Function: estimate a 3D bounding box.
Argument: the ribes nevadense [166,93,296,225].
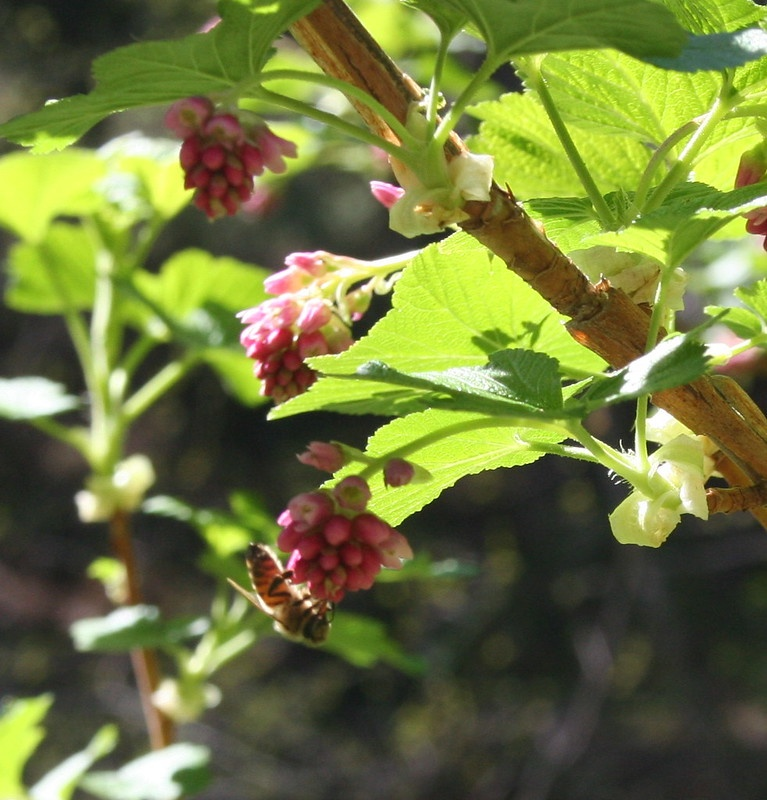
[{"bbox_3d":[-0.218,-0.358,1.390,0.182,0.193,0.074,-14,45,-3],"label":"ribes nevadense"}]

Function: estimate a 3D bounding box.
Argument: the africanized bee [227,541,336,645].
[{"bbox_3d":[-0.170,0.348,1.631,0.246,0.158,0.063,29,81,0],"label":"africanized bee"}]
